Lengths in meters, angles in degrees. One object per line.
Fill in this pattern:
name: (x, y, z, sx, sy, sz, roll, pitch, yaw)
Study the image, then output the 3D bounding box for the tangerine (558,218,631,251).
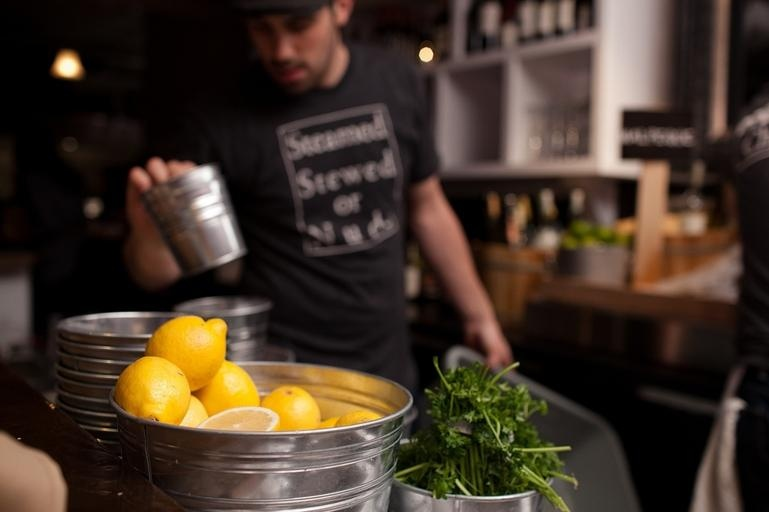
tangerine: (0.671, -0.072, 2.180, 0.220, 0.098, 0.137, 4, 4, 24)
